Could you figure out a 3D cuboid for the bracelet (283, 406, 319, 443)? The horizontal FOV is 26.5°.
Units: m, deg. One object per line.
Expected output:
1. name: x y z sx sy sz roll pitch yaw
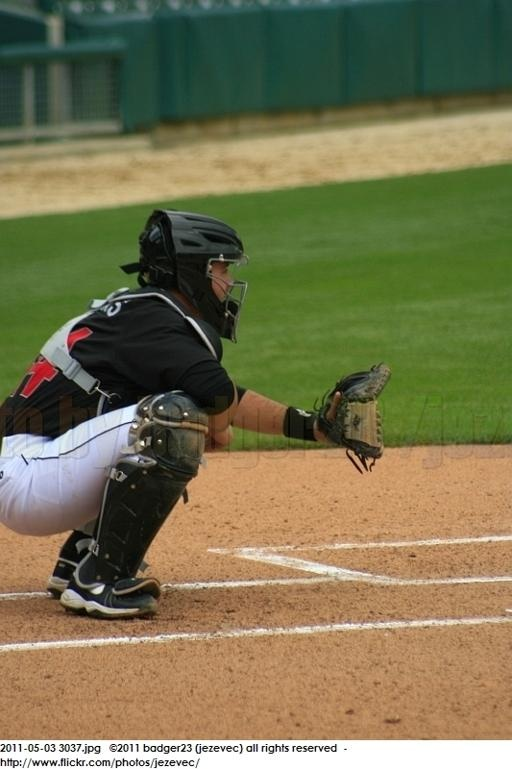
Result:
1. bracelet: 0.144 0.133 3.657 0.138 0.109 0.093 2 4 1
